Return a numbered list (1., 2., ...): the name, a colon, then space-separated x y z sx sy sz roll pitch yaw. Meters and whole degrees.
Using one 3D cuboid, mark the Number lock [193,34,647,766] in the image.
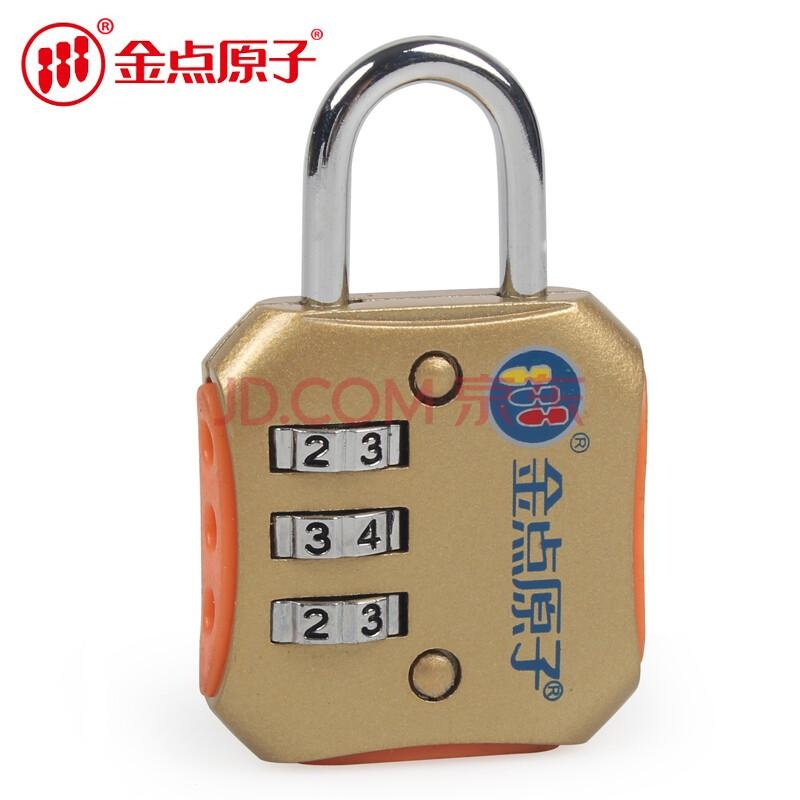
1. Number lock: 0.024 0.021 1.716 0.861 1.152 0.191 -1 4 -34
